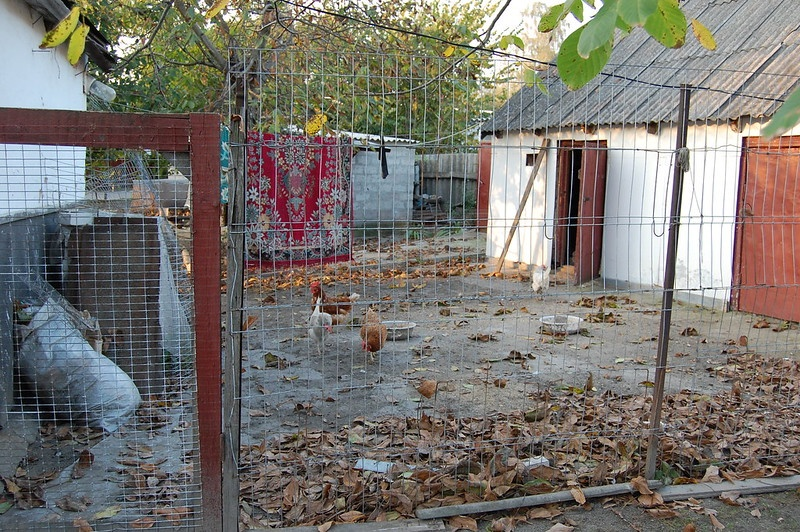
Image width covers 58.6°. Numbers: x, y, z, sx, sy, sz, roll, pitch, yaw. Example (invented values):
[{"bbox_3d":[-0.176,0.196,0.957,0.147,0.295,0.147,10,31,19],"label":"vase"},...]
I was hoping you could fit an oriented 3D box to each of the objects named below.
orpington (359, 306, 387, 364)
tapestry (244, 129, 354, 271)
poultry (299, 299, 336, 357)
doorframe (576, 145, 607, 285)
[{"bbox_3d":[-0.341,0.922,9.306,0.314,0.519,0.720,-6,39,7],"label":"orpington"},{"bbox_3d":[-1.216,-0.768,8.374,1.469,1.501,0.067,-1,-2,17],"label":"tapestry"},{"bbox_3d":[-1.083,0.801,9.561,0.302,0.625,0.876,7,13,-17],"label":"poultry"},{"bbox_3d":[3.515,-0.869,13.017,0.383,3.109,2.380,4,7,18],"label":"doorframe"}]
